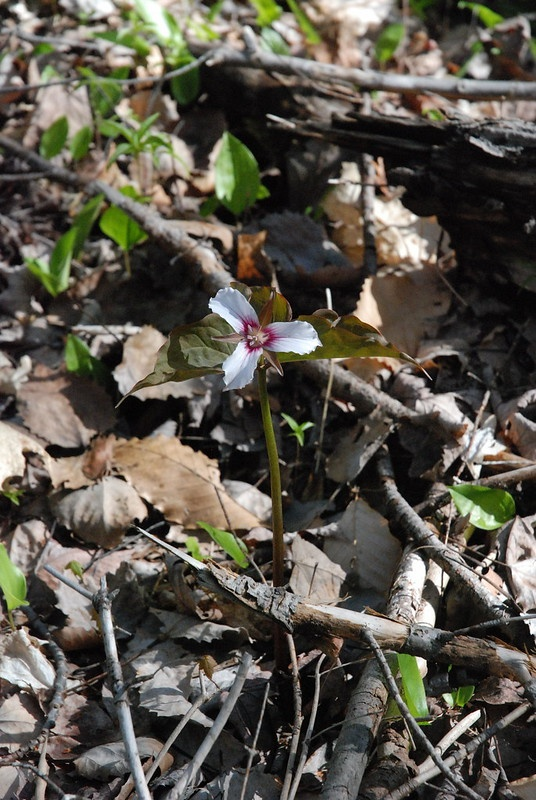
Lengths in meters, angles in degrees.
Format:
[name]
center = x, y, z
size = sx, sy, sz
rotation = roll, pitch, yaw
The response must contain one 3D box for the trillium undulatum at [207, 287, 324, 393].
[trillium undulatum]
center = -0.028, -0.132, 1.865
size = 0.116, 0.275, 0.243
rotation = 14, 88, 34
